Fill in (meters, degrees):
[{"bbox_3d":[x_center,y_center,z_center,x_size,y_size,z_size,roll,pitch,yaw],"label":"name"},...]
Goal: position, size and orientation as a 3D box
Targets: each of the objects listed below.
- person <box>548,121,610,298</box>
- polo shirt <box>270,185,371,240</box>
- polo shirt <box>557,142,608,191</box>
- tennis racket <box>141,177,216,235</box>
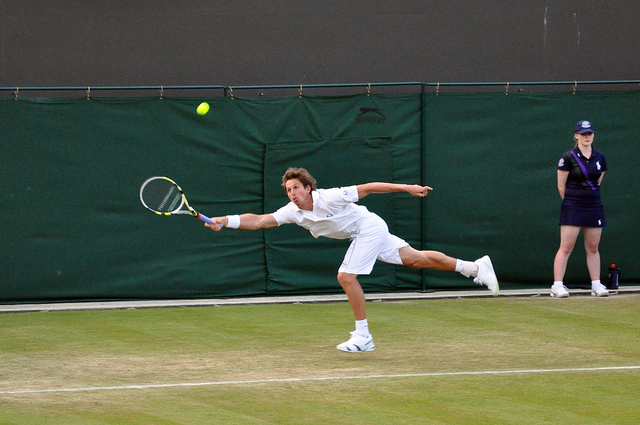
[{"bbox_3d":[3.991,-0.026,13.265,0.703,2.629,0.983,1,-12,-28],"label":"person"},{"bbox_3d":[0.077,0.026,10.265,1.032,0.387,0.716,-12,-31,27],"label":"polo shirt"},{"bbox_3d":[4.017,-0.683,13.298,0.896,0.683,0.484,0,10,-17],"label":"polo shirt"},{"bbox_3d":[-1.777,-0.131,11.230,1.577,0.470,0.154,23,2,28],"label":"tennis racket"}]
